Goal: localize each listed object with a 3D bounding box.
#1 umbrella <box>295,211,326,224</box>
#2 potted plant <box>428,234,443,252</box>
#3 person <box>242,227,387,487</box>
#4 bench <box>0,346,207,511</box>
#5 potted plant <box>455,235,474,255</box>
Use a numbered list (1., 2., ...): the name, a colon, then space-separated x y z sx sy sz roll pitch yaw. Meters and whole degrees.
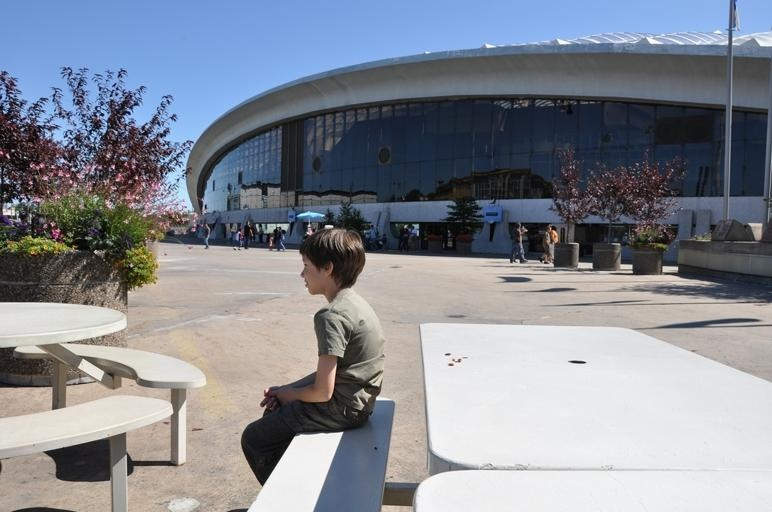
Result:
1. umbrella: -7.376 -3.814 50.375 2.026 0.780 1.911 -3 10 -31
2. potted plant: 3.834 -1.035 40.630 1.284 1.363 1.082 4 10 16
3. person: -0.519 0.832 3.534 0.982 2.005 0.854 1 0 18
4. bench: -2.138 1.630 4.259 1.478 0.537 1.144 8 3 24
5. potted plant: 5.985 -0.886 38.473 1.299 1.358 1.307 -1 6 -20
